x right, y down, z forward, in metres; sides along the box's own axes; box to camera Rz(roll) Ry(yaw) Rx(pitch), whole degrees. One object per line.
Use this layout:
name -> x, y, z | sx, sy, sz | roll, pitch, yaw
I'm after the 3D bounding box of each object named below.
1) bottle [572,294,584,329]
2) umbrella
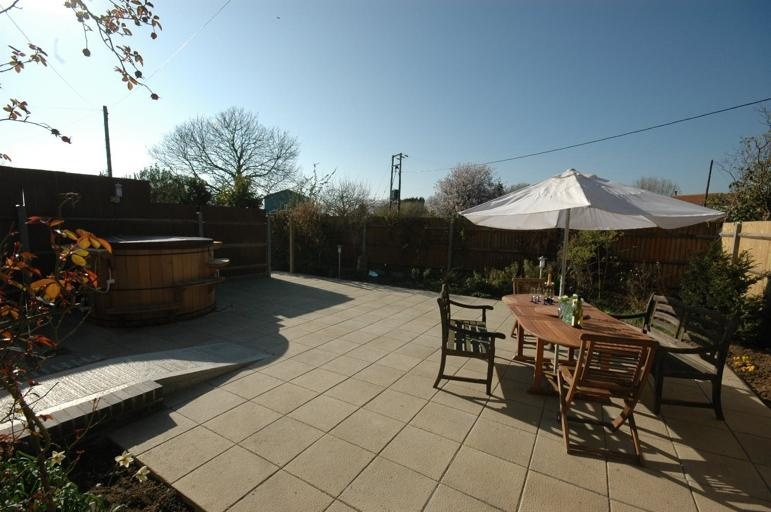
bottle -> 2.621, 0.764, 6.090 | 0.115, 0.427, 0.270 | 2, 5, 31
umbrella -> 2.833, -0.753, 6.983 | 2.583, 1.890, 2.630 | -3, 5, -10
